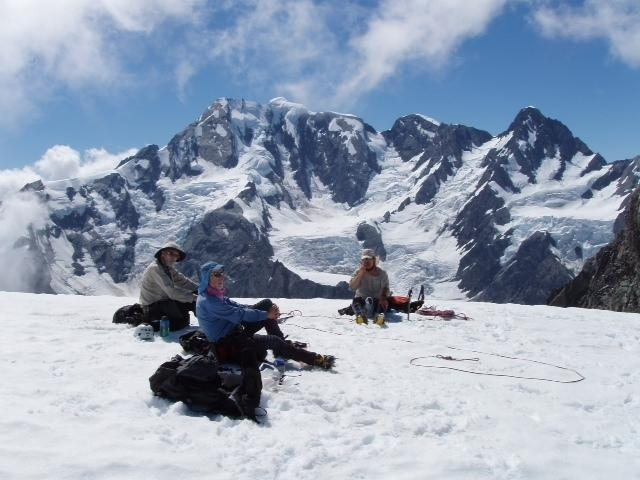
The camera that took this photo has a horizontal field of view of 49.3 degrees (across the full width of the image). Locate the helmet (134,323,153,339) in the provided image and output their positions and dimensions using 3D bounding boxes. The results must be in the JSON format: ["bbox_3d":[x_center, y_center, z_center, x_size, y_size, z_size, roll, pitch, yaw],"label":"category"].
[{"bbox_3d":[-4.201,2.205,16.688,0.322,0.334,0.434,3,1,-39],"label":"helmet"}]

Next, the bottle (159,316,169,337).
[{"bbox_3d":[-3.778,2.112,16.915,0.260,0.437,0.225,8,-3,-34],"label":"bottle"}]

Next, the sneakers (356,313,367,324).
[{"bbox_3d":[1.105,2.194,19.139,0.244,0.213,0.236,-7,-43,47],"label":"sneakers"}]

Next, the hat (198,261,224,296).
[{"bbox_3d":[-2.452,0.772,14.755,0.747,0.643,0.645,1,5,9],"label":"hat"}]

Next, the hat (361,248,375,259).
[{"bbox_3d":[1.357,0.403,20.045,0.295,0.297,0.323,2,3,2],"label":"hat"}]
